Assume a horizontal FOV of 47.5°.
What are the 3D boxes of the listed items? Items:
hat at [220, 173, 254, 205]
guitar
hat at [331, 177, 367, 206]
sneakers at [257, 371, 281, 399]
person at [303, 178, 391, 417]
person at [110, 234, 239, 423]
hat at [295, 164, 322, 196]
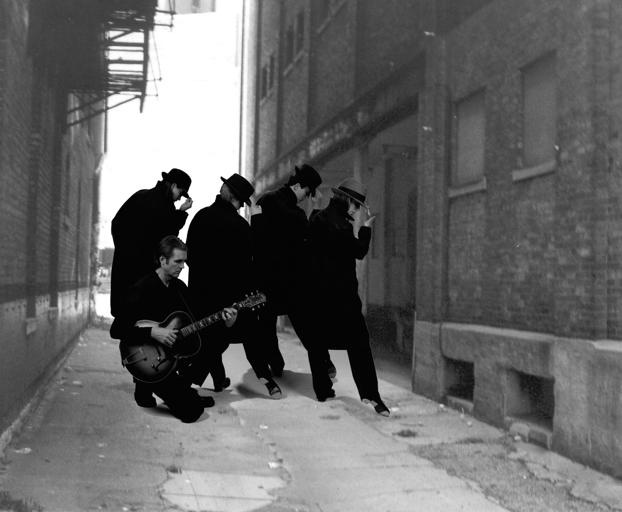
[{"bbox_3d":[-0.816,-0.721,7.709,0.353,0.332,0.369,2,7,8],"label":"hat"},{"bbox_3d":[-1.240,0.751,7.179,1.317,0.617,0.199,-33,18,-24],"label":"guitar"},{"bbox_3d":[0.413,-0.736,7.571,0.337,0.151,0.324,30,-9,25],"label":"hat"},{"bbox_3d":[-0.525,1.549,8.404,0.078,0.245,0.163,-35,-7,-22],"label":"sneakers"},{"bbox_3d":[0.333,0.441,7.670,0.392,2.522,0.950,-5,8,-44],"label":"person"},{"bbox_3d":[-1.471,0.736,7.198,1.123,1.912,0.616,-1,6,-20],"label":"person"},{"bbox_3d":[-0.040,-0.855,7.857,0.224,0.380,0.114,-24,7,2],"label":"hat"}]
